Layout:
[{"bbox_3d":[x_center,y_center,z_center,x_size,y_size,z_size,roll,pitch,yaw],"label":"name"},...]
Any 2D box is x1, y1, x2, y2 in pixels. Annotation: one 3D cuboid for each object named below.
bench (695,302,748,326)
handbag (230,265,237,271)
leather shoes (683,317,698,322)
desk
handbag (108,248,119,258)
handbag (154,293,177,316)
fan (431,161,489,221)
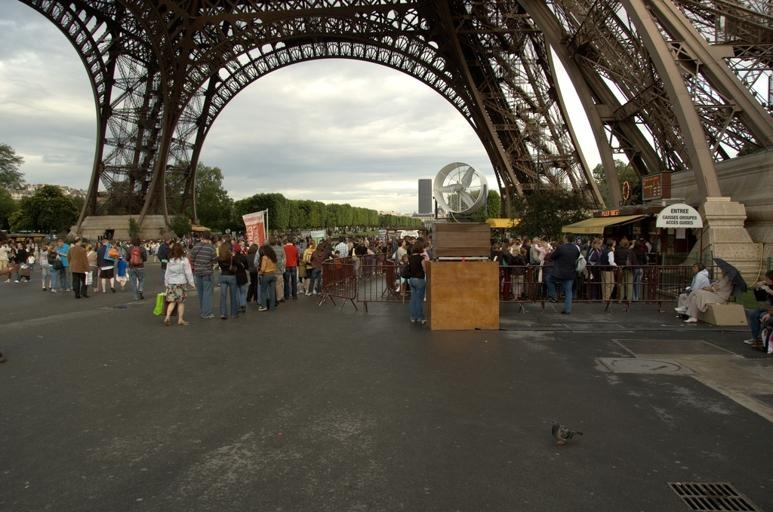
[{"bbox_3d":[8.855,1.541,13.294,0.619,0.399,0.842,-1,3,-4],"label":"bench"},{"bbox_3d":[-4.363,0.342,14.520,0.162,0.159,0.042,-1,10,-11],"label":"handbag"},{"bbox_3d":[8.173,1.710,13.665,0.413,0.173,0.140,2,-2,6],"label":"leather shoes"},{"bbox_3d":[1.996,1.011,13.610,1.799,1.698,1.726,0,-2,-1],"label":"desk"},{"bbox_3d":[-11.004,-0.158,20.479,0.319,0.288,0.318,20,14,38],"label":"handbag"},{"bbox_3d":[-6.073,1.336,14.021,0.439,0.777,0.765,0,2,-16],"label":"handbag"},{"bbox_3d":[4.759,-4.553,33.692,1.009,3.303,3.895,-9,12,-42],"label":"fan"}]
